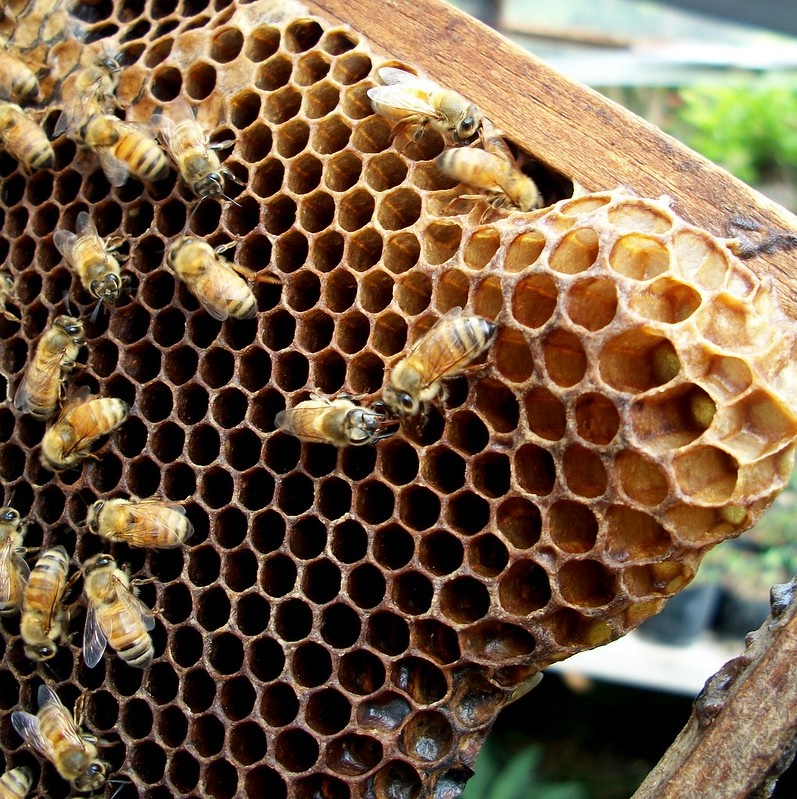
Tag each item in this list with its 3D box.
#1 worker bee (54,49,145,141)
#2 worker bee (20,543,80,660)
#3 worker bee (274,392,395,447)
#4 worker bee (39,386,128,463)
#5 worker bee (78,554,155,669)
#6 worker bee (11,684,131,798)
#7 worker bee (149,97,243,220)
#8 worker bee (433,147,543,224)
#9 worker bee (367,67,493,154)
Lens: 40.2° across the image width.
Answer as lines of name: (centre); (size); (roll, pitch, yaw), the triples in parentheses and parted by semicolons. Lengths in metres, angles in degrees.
worker bee: (-0.746, -0.775, 2.774); (0.191, 0.075, 0.228); (15, 89, 30)
worker bee: (-0.842, 0.493, 2.631); (0.190, 0.070, 0.227); (7, 94, 25)
worker bee: (-0.145, 0.049, 2.469); (0.278, 0.119, 0.121); (13, 84, 4)
worker bee: (-0.770, 0.071, 2.665); (0.210, 0.070, 0.139); (-42, 75, 10)
worker bee: (-0.662, 0.505, 2.582); (0.188, 0.079, 0.244); (-33, 55, 14)
worker bee: (-0.774, 0.793, 2.567); (0.272, 0.085, 0.198); (38, 92, 33)
worker bee: (-0.464, -0.592, 2.698); (0.216, 0.087, 0.269); (-35, 74, 14)
worker bee: (0.208, -0.464, 2.459); (0.217, 0.064, 0.142); (20, 56, -16)
worker bee: (0.069, -0.655, 2.489); (0.242, 0.071, 0.158); (19, 60, 22)
